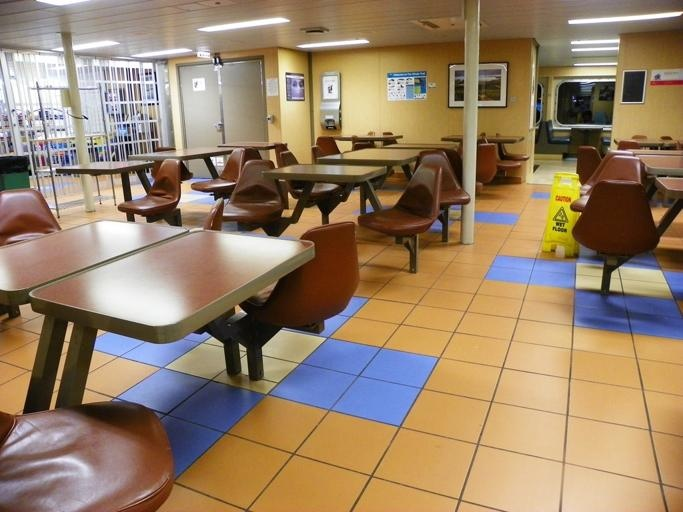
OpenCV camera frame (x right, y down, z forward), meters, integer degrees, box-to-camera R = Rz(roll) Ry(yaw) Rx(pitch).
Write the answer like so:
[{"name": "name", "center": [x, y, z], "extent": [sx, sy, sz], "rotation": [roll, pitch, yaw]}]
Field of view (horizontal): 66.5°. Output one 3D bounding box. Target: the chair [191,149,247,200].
[{"name": "chair", "center": [-1.558, -1.054, 6.762], "extent": [0.905, 0.604, 0.600], "rotation": [-13, 25, -35]}]

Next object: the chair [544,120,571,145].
[{"name": "chair", "center": [5.967, -3.446, 14.580], "extent": [0.955, 0.668, 1.177], "rotation": [1, 13, 18]}]

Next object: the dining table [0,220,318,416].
[{"name": "dining table", "center": [-0.728, 0.260, 2.785], "extent": [1.106, 0.610, 1.400], "rotation": [12, 19, 22]}]

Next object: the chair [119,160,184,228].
[{"name": "chair", "center": [-2.101, -0.657, 5.813], "extent": [0.581, 0.795, 0.725], "rotation": [-2, 20, 3]}]
